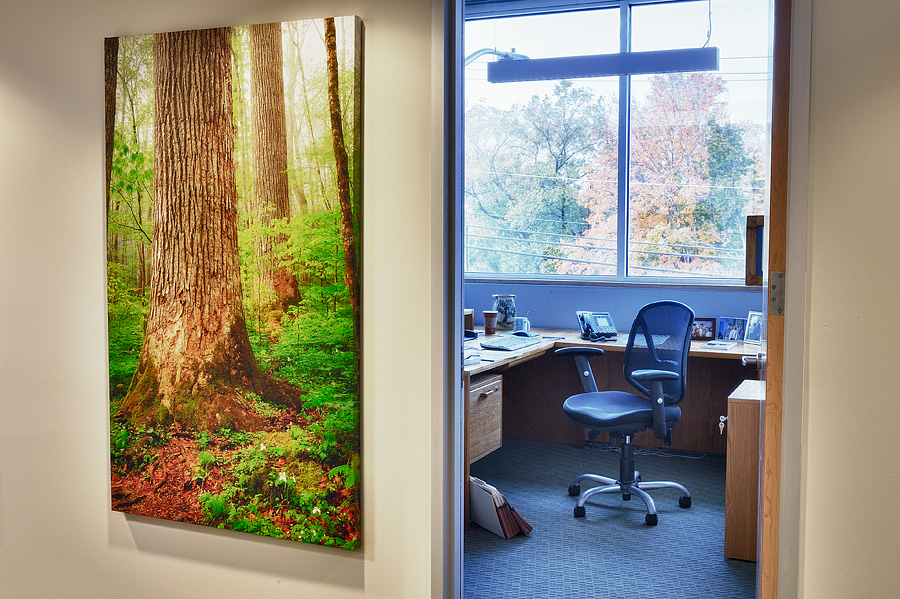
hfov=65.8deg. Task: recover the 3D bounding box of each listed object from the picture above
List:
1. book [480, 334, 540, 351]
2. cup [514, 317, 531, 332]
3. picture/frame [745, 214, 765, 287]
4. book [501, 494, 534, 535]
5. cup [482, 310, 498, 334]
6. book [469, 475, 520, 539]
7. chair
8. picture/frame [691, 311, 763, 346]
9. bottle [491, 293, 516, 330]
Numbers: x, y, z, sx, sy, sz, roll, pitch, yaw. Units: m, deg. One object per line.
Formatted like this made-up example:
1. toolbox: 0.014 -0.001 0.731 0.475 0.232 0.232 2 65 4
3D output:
1. book: 0.423 0.287 4.755 0.380 0.040 0.648 1 9 12
2. cup: 0.552 0.190 5.252 0.137 0.131 0.082 1 0 28
3. picture/frame: 1.242 -0.197 2.813 0.017 0.279 0.164 6 12 43
4. book: 0.414 1.240 4.025 0.151 0.190 0.206 7 12 41
5. cup: 0.301 0.165 5.104 0.145 0.174 0.141 0 6 0
6. book: 0.237 1.213 3.993 0.102 0.245 0.331 -15 15 -36
7. chair: 1.109 0.646 4.366 0.864 1.276 0.814 1 9 8
8. picture/frame: 1.998 0.191 5.038 0.437 0.240 0.437 2 9 15
9. bottle: 0.448 0.088 5.348 0.225 0.297 0.233 -1 -1 0
